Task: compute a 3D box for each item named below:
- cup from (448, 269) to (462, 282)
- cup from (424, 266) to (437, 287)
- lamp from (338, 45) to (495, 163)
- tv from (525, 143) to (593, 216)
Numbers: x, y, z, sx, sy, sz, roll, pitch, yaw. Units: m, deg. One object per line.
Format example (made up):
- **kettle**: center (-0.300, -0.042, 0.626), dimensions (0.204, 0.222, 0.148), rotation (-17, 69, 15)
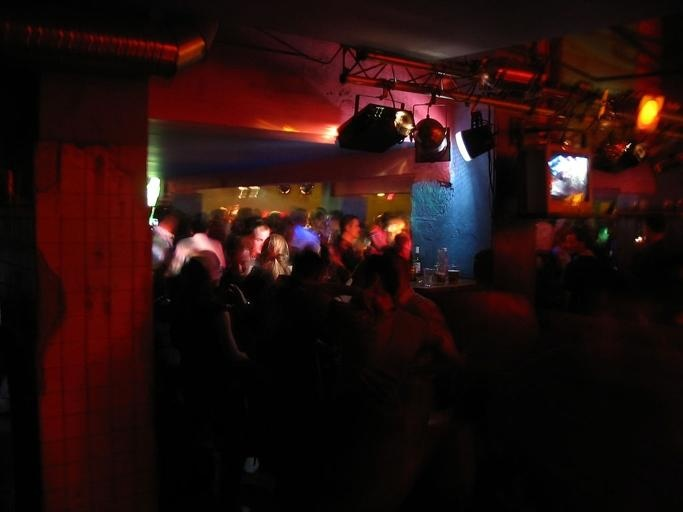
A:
- **cup**: center (1.185, 0.214, 5.795), dimensions (0.124, 0.127, 0.118), rotation (1, 5, 0)
- **cup**: center (0.952, 0.230, 5.937), dimensions (0.153, 0.240, 0.150), rotation (3, -4, 0)
- **lamp**: center (0.633, -1.342, 5.252), dimensions (1.560, 0.900, 1.030), rotation (5, 5, 9)
- **tv**: center (1.744, -0.607, 4.413), dimensions (0.564, 0.589, 0.303), rotation (-1, 0, -19)
